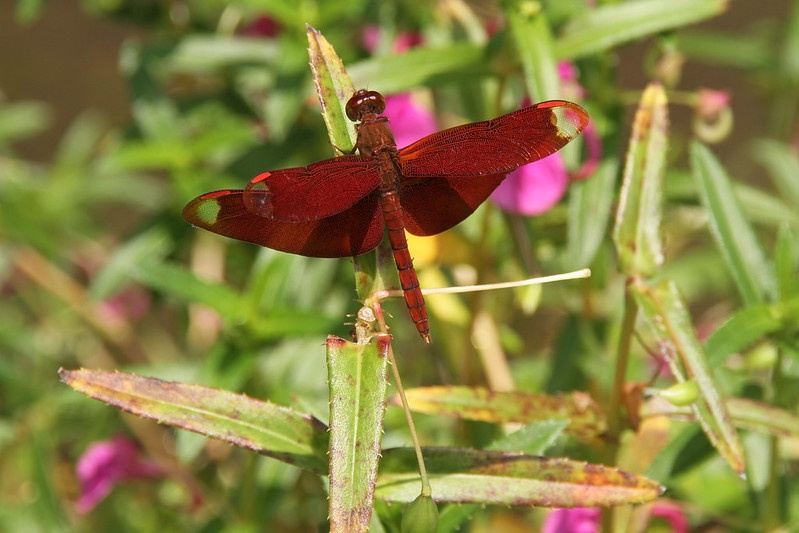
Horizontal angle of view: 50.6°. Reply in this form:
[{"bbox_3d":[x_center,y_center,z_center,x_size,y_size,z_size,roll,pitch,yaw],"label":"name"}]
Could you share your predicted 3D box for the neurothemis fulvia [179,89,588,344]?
[{"bbox_3d":[-0.001,-0.074,1.152,0.524,0.337,0.191,-17,-11,-15],"label":"neurothemis fulvia"}]
